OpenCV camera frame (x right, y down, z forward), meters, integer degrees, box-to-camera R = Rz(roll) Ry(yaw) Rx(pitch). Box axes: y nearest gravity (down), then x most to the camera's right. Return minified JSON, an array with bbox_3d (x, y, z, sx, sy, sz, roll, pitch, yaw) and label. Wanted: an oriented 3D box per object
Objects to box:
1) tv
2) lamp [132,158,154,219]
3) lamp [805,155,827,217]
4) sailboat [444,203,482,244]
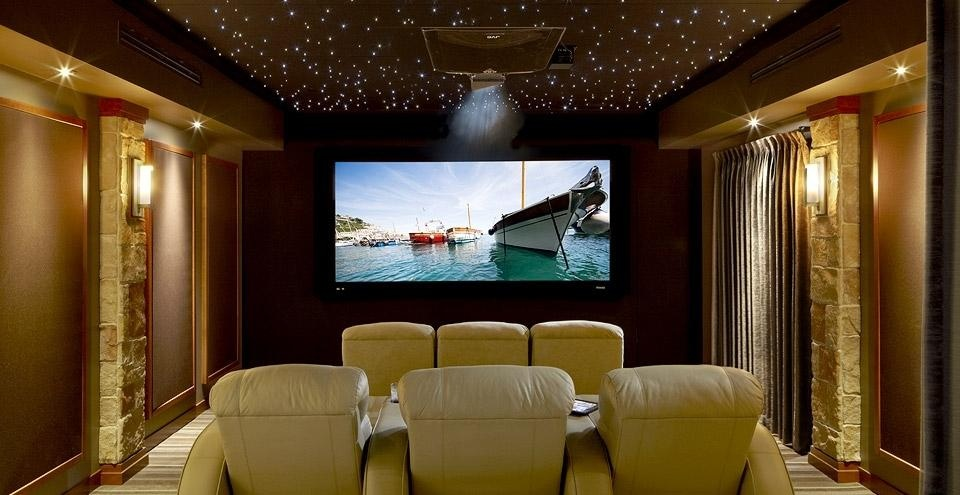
[{"bbox_3d":[-0.145,-0.339,7.779,4.049,1.922,0.228,0,-3,0],"label":"tv"},{"bbox_3d":[-3.421,-0.596,5.845,0.109,0.586,0.214,-1,-3,16],"label":"lamp"},{"bbox_3d":[3.371,-0.609,5.793,0.121,0.579,0.175,2,-4,-41],"label":"lamp"},{"bbox_3d":[-0.262,-0.322,7.863,0.686,0.529,0.313,0,-4,-9],"label":"sailboat"}]
